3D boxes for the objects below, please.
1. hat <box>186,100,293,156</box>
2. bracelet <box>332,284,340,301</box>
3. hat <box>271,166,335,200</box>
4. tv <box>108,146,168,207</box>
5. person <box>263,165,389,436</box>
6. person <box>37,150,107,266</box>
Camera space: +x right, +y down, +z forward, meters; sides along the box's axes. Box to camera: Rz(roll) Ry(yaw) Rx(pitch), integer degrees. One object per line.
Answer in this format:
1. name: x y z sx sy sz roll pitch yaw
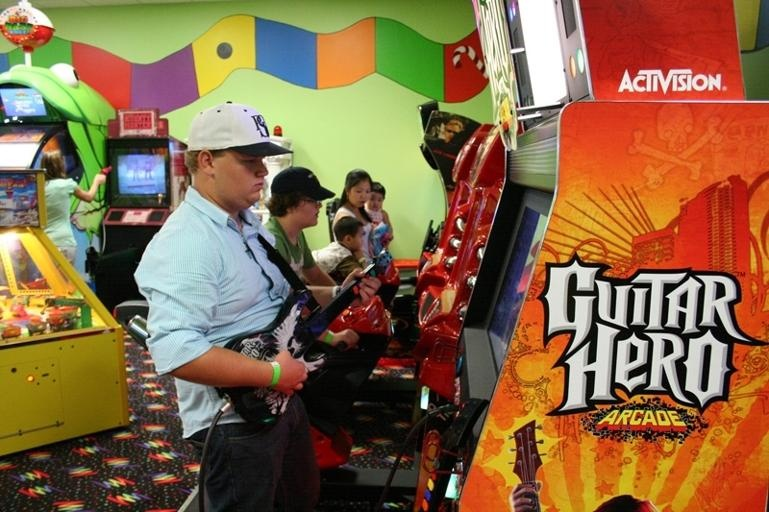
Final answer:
1. hat: -0.457 -0.409 1.829 0.346 0.155 0.247 6 15 7
2. bracelet: -0.223 0.165 2.574 0.020 0.056 0.043 20 3 -9
3. hat: -0.404 -0.352 2.725 0.324 0.153 0.201 0 12 7
4. tv: -2.706 -0.891 6.220 0.763 0.649 0.395 0 -1 4
5. person: -0.276 0.258 2.857 0.780 1.281 0.521 3 21 4
6. person: -2.800 -0.434 5.108 0.521 1.014 1.880 -6 11 -25
